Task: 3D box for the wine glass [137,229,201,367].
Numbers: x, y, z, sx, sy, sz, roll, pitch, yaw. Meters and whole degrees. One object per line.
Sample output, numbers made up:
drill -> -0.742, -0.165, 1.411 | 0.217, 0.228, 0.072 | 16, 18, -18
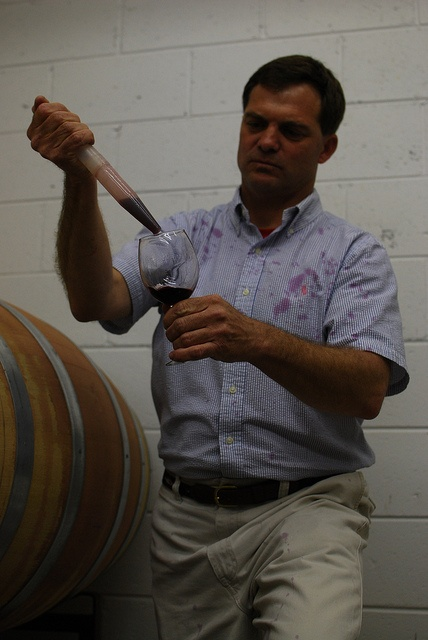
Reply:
wine glass -> -0.067, -0.074, 1.035 | 0.083, 0.123, 0.090 | -10, 54, -1
